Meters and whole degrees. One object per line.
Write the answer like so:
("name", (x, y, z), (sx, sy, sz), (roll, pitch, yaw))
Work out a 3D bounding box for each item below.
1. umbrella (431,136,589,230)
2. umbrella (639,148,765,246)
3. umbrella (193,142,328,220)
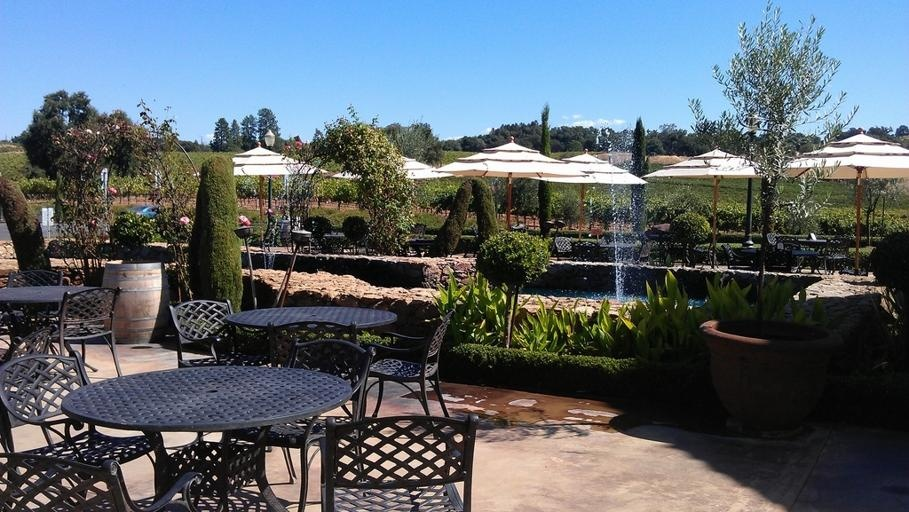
("umbrella", (1.240, -2.100, 16.583), (2.731, 2.031, 2.789), (3, 8, 34))
("umbrella", (6.406, -1.203, 16.570), (2.936, 2.648, 2.824), (-2, 8, 12))
("umbrella", (-5.356, -2.209, 19.179), (2.271, 1.743, 2.003), (-5, 13, 9))
